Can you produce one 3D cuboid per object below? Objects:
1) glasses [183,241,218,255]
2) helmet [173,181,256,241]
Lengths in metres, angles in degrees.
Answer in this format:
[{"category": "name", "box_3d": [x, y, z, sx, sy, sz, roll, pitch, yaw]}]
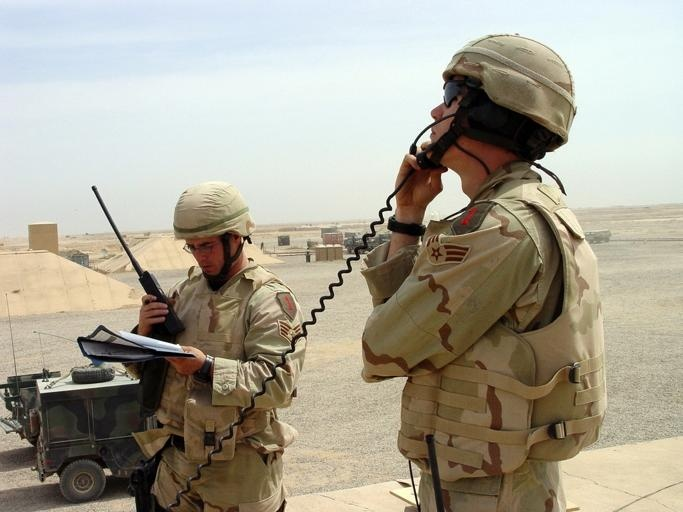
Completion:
[{"category": "glasses", "box_3d": [-0.864, -0.067, 4.421, 0.117, 0.031, 0.112, -2, -14, 10]}, {"category": "helmet", "box_3d": [-0.788, -0.250, 4.240, 0.586, 0.334, 0.566, -2, -3, 6]}]
